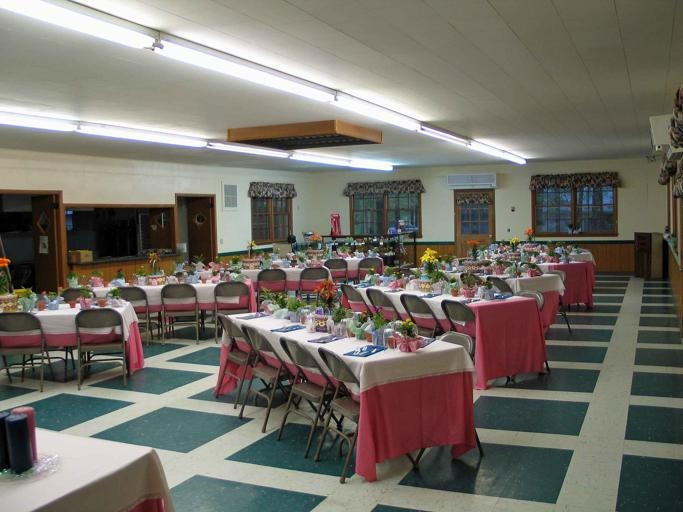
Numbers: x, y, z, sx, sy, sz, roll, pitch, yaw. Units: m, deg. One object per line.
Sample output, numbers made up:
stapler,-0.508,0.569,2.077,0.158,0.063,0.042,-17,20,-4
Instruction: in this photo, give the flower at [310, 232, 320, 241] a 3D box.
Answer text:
flower,-0.876,-0.619,16.226,0.306,0.175,0.340,-1,3,-3

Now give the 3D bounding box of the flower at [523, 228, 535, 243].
flower,4.620,-0.495,12.095,0.131,0.280,0.538,0,6,15

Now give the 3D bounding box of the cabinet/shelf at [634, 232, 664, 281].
cabinet/shelf,8.874,-0.029,14.218,0.747,1.260,0.512,1,7,25

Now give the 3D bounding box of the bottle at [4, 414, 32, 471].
bottle,-1.665,0.953,2.530,0.141,0.290,0.081,0,7,19
